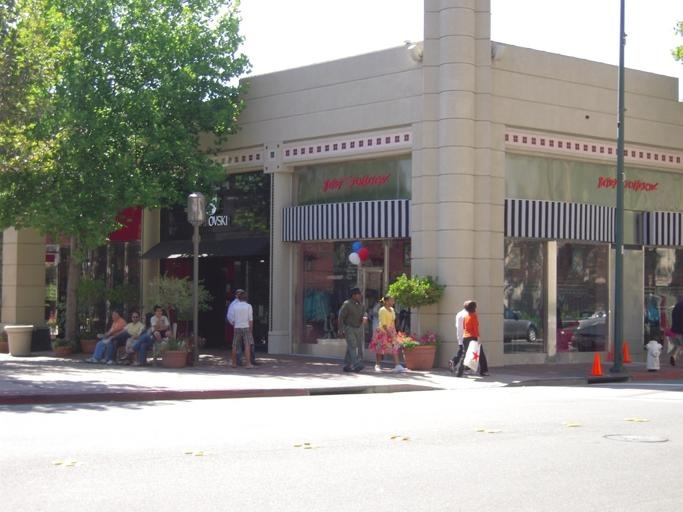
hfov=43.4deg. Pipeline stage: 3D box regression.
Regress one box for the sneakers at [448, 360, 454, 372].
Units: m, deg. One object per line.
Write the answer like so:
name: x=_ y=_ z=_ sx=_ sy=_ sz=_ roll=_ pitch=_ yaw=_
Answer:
sneakers: x=2.876 y=2.888 z=22.429 sx=0.087 sy=0.286 sz=0.113 roll=-2 pitch=-4 yaw=35

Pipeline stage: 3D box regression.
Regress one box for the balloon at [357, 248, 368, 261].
balloon: x=0.657 y=-0.054 z=26.092 sx=0.309 sy=0.405 sz=0.316 roll=7 pitch=9 yaw=38

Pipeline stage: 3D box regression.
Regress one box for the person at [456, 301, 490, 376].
person: x=3.379 y=2.175 z=22.352 sx=0.801 sy=1.905 sz=1.577 roll=-1 pitch=-6 yaw=9

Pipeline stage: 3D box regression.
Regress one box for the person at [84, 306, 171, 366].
person: x=-5.870 y=2.278 z=24.284 sx=1.370 sy=1.208 sz=2.149 roll=5 pitch=1 yaw=26

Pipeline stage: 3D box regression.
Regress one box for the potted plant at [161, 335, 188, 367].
potted plant: x=-4.582 y=2.643 z=23.541 sx=0.724 sy=0.847 sz=0.689 roll=1 pitch=-6 yaw=-9

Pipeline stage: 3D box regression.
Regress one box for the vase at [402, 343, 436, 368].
vase: x=2.158 y=2.759 z=23.465 sx=0.660 sy=0.476 sz=0.703 roll=-1 pitch=-5 yaw=0

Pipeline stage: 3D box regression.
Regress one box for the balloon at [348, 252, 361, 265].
balloon: x=0.384 y=0.084 z=26.244 sx=0.279 sy=0.297 sz=0.378 roll=4 pitch=25 yaw=-46

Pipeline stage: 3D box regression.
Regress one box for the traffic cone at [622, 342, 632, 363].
traffic cone: x=8.924 y=3.029 z=26.794 sx=0.246 sy=0.678 sz=1.256 roll=-2 pitch=-7 yaw=18

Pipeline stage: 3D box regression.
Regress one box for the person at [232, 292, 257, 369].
person: x=-2.719 y=1.984 z=23.611 sx=0.671 sy=2.102 sz=0.705 roll=5 pitch=-7 yaw=-37

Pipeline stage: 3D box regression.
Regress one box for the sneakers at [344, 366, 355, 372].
sneakers: x=0.196 y=2.958 z=22.346 sx=0.285 sy=0.155 sz=0.160 roll=3 pitch=-7 yaw=-24

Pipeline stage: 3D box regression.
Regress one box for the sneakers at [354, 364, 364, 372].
sneakers: x=0.449 y=2.946 z=22.459 sx=0.240 sy=0.208 sz=0.392 roll=0 pitch=-7 yaw=2

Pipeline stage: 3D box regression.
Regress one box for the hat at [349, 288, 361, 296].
hat: x=0.342 y=0.944 z=22.548 sx=0.212 sy=0.217 sz=0.202 roll=-4 pitch=-3 yaw=17

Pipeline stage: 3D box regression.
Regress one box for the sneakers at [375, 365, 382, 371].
sneakers: x=0.961 y=2.993 z=22.786 sx=0.163 sy=0.134 sz=0.243 roll=-1 pitch=-1 yaw=-1

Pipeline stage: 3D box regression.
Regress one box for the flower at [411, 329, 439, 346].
flower: x=2.358 y=2.262 z=23.613 sx=0.412 sy=0.331 sz=0.448 roll=5 pitch=-9 yaw=-38
